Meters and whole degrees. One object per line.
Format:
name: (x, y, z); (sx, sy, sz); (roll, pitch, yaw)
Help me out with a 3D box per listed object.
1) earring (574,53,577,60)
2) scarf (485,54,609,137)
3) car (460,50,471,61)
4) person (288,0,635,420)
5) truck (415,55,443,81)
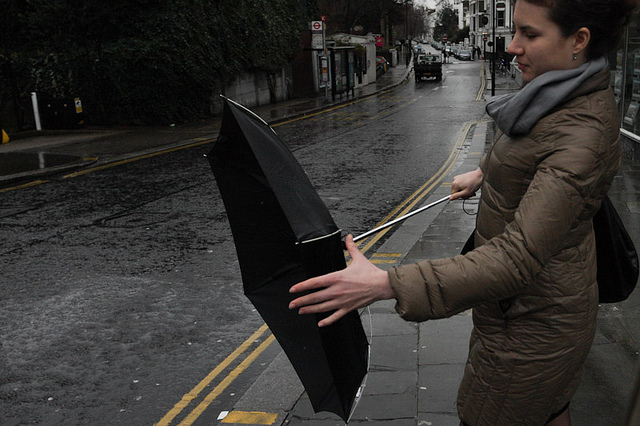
earring: (1.098, -0.673, 2.229); (0.008, 0.027, 0.019); (9, 23, 36)
scarf: (0.994, -0.518, 2.321); (0.498, 0.327, 0.322); (5, 21, 26)
car: (23.668, -25.581, 84.377); (1.332, 1.188, 2.631); (2, 17, 12)
person: (0.816, 0.126, 2.282); (1.440, 1.993, 0.514); (-12, 19, -20)
truck: (9.449, -12.597, 45.669); (2.008, 1.352, 3.156); (3, 30, 10)
